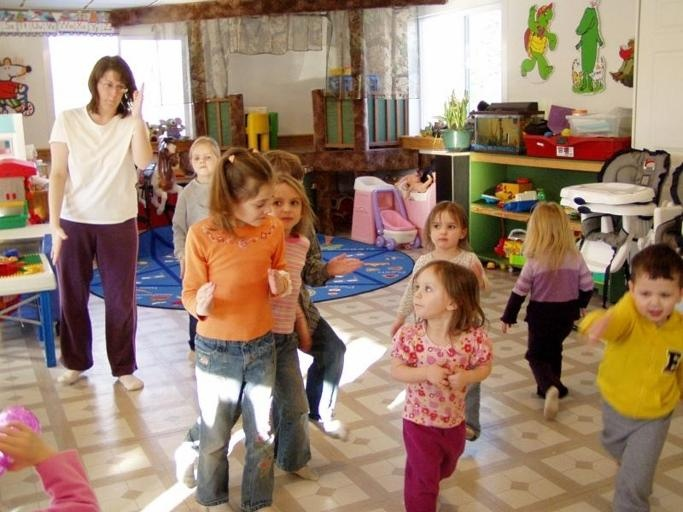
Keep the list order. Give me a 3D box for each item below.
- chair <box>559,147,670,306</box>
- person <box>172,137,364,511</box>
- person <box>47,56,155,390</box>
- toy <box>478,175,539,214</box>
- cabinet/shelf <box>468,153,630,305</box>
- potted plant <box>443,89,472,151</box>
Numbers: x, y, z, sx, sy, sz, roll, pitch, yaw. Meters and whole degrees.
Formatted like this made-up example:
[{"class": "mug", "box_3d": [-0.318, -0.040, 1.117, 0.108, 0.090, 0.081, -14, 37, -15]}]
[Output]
[{"class": "chair", "box_3d": [2.234, -0.283, 4.363, 0.793, 1.041, 0.897, 8, 23, 42]}, {"class": "person", "box_3d": [-0.383, 0.328, 2.214, 0.629, 1.513, 0.444, -9, 16, -20]}, {"class": "person", "box_3d": [-1.467, -0.145, 3.252, 0.681, 2.005, 0.351, -12, 17, -29]}, {"class": "toy", "box_3d": [1.828, -0.634, 5.688, 0.495, 0.143, 0.383, -17, 22, -41]}, {"class": "cabinet/shelf", "box_3d": [1.719, -0.254, 4.365, 0.468, 1.133, 1.390, -9, 16, -42]}, {"class": "potted plant", "box_3d": [1.391, -1.640, 6.494, 0.332, 0.678, 0.793, 0, 15, 11]}]
